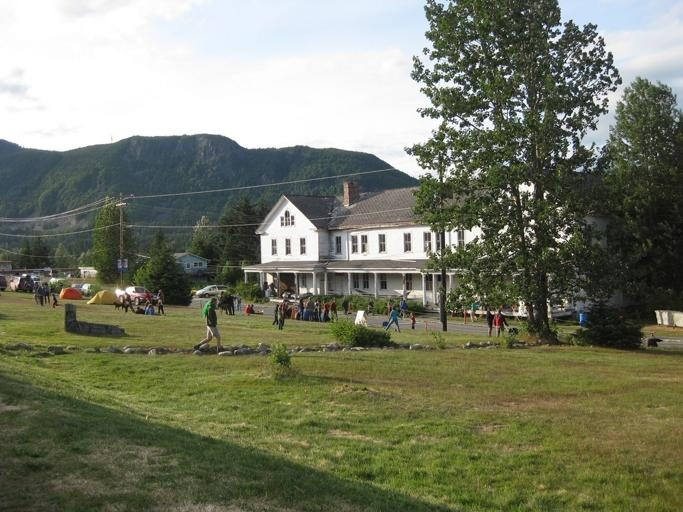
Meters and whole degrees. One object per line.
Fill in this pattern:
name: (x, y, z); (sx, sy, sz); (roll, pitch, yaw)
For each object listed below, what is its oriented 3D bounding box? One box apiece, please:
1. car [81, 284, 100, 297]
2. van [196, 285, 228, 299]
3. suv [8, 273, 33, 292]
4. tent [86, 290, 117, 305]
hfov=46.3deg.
car: (-26.122, 3.780, 82.458); (2.180, 1.236, 1.418); (8, 5, 28)
van: (-12.976, 3.547, 79.732); (3.325, 1.160, 1.639); (2, -4, -27)
suv: (-31.286, 2.674, 77.878); (1.610, 1.853, 4.040); (3, -6, -29)
tent: (-17.992, 3.197, 60.584); (1.876, 1.163, 2.556); (-1, -4, 19)
